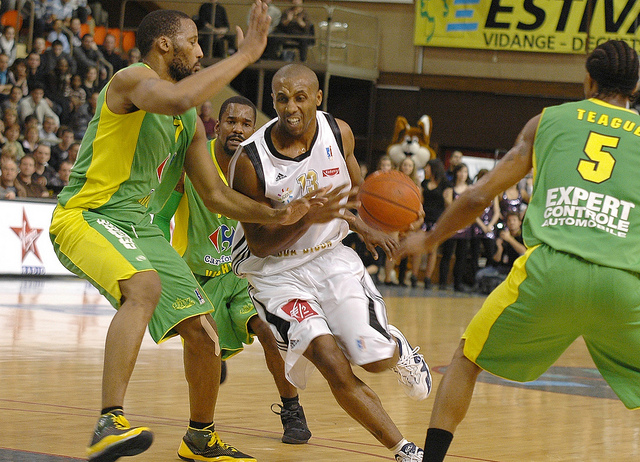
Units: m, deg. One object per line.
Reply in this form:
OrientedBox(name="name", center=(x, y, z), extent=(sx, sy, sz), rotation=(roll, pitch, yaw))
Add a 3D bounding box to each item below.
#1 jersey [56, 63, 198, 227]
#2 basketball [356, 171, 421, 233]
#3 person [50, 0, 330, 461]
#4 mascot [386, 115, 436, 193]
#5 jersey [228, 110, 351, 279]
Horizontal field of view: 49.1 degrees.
OrientedBox(name="jersey", center=(-0.972, -0.388, 3.582), extent=(0.611, 0.705, 0.315), rotation=(0, 10, -42))
OrientedBox(name="basketball", center=(0.397, -0.113, 3.877), extent=(0.374, 0.317, 0.336), rotation=(-13, -28, 7))
OrientedBox(name="person", center=(-0.765, 0.034, 3.498), extent=(0.917, 2.366, 0.879), rotation=(0, 9, -39))
OrientedBox(name="mascot", center=(1.942, -1.535, 15.006), extent=(0.987, 1.885, 0.801), rotation=(5, 7, 14))
OrientedBox(name="jersey", center=(-0.133, -0.221, 3.971), extent=(0.656, 0.943, 0.496), rotation=(-4, 0, -9))
